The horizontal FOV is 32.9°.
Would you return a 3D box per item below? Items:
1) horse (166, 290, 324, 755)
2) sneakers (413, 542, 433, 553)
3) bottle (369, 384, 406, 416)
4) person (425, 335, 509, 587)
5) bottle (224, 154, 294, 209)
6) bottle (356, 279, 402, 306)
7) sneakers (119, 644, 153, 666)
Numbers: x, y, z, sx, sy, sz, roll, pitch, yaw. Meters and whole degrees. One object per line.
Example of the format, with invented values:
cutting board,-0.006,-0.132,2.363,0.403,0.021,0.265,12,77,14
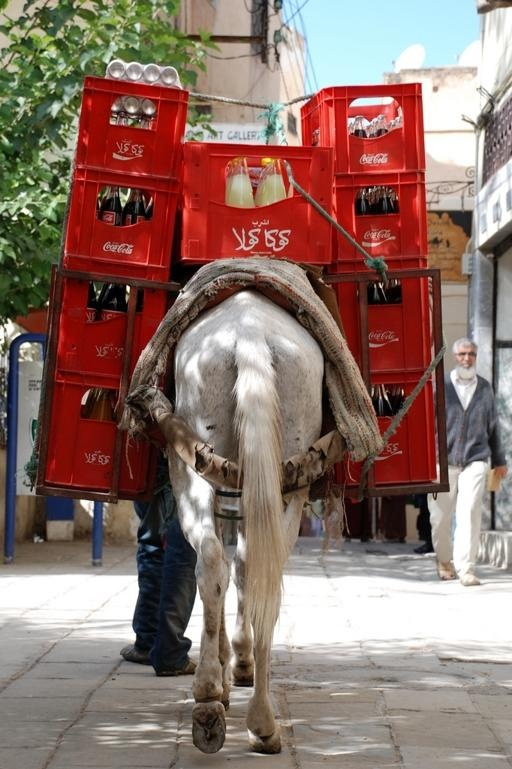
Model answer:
horse,-0.039,0.443,3.051,0.533,1.512,0.856,-1,-9,17
sneakers,1.967,1.912,10.023,0.260,0.157,0.082,3,-9,-7
bottle,0.708,0.065,4.652,0.168,0.195,0.074,2,15,3
person,1.825,0.643,7.677,0.627,2.186,0.798,-2,-10,23
bottle,0.009,-0.905,3.830,0.296,0.238,0.124,0,9,-9
bottle,0.619,-0.475,4.404,0.156,0.053,0.145,1,-22,0
sneakers,-0.579,1.314,4.235,0.076,0.078,0.193,4,4,-42
